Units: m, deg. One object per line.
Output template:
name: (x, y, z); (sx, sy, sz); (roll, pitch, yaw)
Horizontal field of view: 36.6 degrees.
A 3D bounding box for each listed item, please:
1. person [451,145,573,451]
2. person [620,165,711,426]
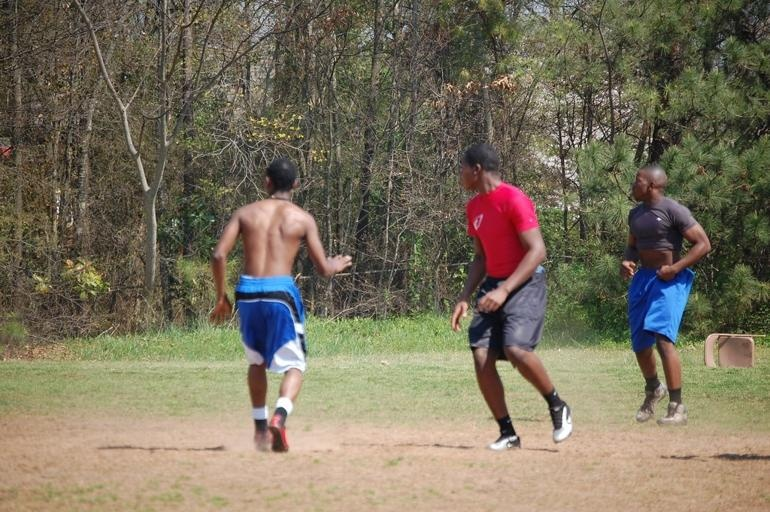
person: (1.705, 0.549, 16.380); (1.410, 4.341, 0.731); (-3, -4, 8)
person: (4.214, 0.578, 17.651); (1.193, 3.953, 0.547); (-3, -4, 19)
